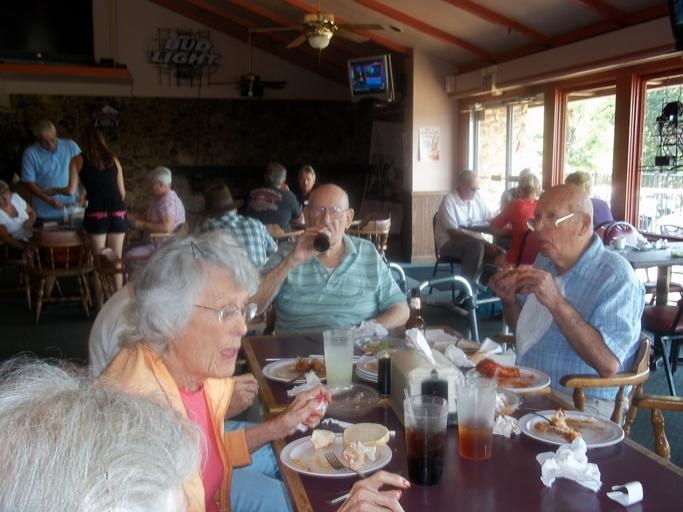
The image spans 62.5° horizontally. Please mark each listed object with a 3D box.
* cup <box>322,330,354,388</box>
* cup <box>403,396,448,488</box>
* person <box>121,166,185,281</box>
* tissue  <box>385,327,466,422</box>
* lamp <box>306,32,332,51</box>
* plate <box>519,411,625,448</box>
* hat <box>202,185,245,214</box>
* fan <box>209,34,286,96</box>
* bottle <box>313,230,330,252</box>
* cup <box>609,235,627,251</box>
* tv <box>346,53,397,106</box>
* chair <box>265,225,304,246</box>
[{"bbox_3d":[-0.006,0.326,1.848,0.137,0.241,0.145,-1,-2,0],"label":"cup"},{"bbox_3d":[0.208,0.459,1.386,0.098,0.189,0.067,0,7,5],"label":"cup"},{"bbox_3d":[-1.935,-0.229,5.624,0.677,1.286,0.553,-1,8,-25],"label":"person"},{"bbox_3d":[0.223,0.344,1.628,0.156,0.221,0.274,-1,-2,-5],"label":"tissue "},{"bbox_3d":[-0.216,-2.141,5.532,0.251,0.136,0.305,-1,6,-3],"label":"lamp"},{"bbox_3d":[0.641,0.470,1.587,0.284,0.062,0.214,-1,6,0],"label":"plate"},{"bbox_3d":[-0.833,-0.415,4.065,0.198,0.107,0.235,12,30,34],"label":"hat"},{"bbox_3d":[-1.541,-3.450,9.718,1.050,1.017,1.103,-1,8,-6],"label":"fan"},{"bbox_3d":[-0.081,-0.076,2.474,0.072,0.079,0.077,19,5,3],"label":"bottle"},{"bbox_3d":[2.278,-0.111,4.642,0.109,0.119,0.138,1,-3,-31],"label":"cup"},{"bbox_3d":[0.482,-2.689,8.404,0.834,0.822,0.122,-5,3,25],"label":"tv"},{"bbox_3d":[-0.577,-0.237,5.801,0.312,0.163,0.514,0,5,6],"label":"chair"}]
